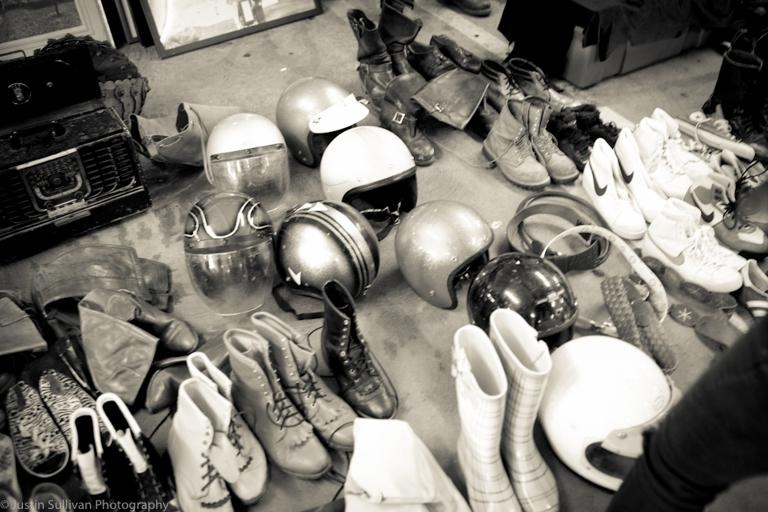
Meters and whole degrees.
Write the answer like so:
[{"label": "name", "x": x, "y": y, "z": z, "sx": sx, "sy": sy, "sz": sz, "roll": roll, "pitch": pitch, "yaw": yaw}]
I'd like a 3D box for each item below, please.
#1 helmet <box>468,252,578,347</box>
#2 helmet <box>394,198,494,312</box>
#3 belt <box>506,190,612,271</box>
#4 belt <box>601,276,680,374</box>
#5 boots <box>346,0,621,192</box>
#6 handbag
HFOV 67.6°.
[{"label": "helmet", "x": 0.577, "y": 0.196, "z": 2.402, "sx": 0.394, "sy": 0.334, "sz": 0.345, "roll": 28, "pitch": 62, "yaw": 23}, {"label": "helmet", "x": 0.254, "y": -0.024, "z": 2.649, "sx": 0.417, "sy": 0.425, "sz": 0.455, "roll": -37, "pitch": 52, "yaw": -27}, {"label": "belt", "x": 0.854, "y": -0.133, "z": 2.784, "sx": 0.438, "sy": 0.164, "sz": 0.400, "roll": 25, "pitch": 78, "yaw": 20}, {"label": "belt", "x": 1.086, "y": 0.284, "z": 2.443, "sx": 0.103, "sy": 0.286, "sz": 0.403, "roll": -38, "pitch": 60, "yaw": 23}, {"label": "boots", "x": 0.600, "y": -0.884, "z": 3.271, "sx": 0.435, "sy": 0.561, "sz": 1.313, "roll": -45, "pitch": 70, "yaw": -8}, {"label": "handbag", "x": -1.081, "y": -0.665, "z": 3.102, "sx": 0.308, "sy": 0.219, "sz": 0.541, "roll": 22, "pitch": 32, "yaw": 23}]
